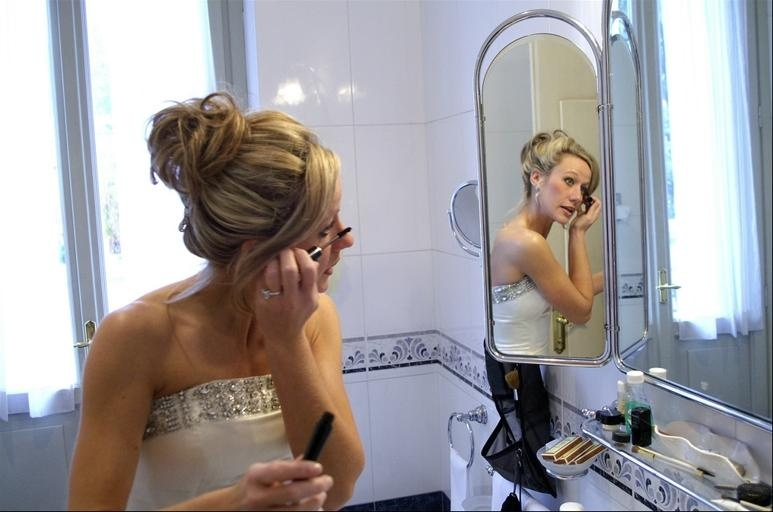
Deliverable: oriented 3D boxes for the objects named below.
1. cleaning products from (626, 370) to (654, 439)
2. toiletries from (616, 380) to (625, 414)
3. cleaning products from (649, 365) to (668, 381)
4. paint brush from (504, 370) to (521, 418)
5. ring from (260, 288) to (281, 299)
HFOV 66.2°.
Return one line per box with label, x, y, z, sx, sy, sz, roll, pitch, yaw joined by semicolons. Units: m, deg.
cleaning products;0.617;0.358;1.475;0.045;0.133;0.046;-1;10;-7
toiletries;0.587;0.352;1.479;0.027;0.056;0.023;-5;2;36
cleaning products;0.664;0.282;1.435;0.026;0.020;0.027;0;0;2
paint brush;0.384;0.417;1.778;0.030;0.119;0.070;-6;-4;-11
ring;-0.269;0.084;1.361;0.024;0.017;0.029;-5;-22;41
